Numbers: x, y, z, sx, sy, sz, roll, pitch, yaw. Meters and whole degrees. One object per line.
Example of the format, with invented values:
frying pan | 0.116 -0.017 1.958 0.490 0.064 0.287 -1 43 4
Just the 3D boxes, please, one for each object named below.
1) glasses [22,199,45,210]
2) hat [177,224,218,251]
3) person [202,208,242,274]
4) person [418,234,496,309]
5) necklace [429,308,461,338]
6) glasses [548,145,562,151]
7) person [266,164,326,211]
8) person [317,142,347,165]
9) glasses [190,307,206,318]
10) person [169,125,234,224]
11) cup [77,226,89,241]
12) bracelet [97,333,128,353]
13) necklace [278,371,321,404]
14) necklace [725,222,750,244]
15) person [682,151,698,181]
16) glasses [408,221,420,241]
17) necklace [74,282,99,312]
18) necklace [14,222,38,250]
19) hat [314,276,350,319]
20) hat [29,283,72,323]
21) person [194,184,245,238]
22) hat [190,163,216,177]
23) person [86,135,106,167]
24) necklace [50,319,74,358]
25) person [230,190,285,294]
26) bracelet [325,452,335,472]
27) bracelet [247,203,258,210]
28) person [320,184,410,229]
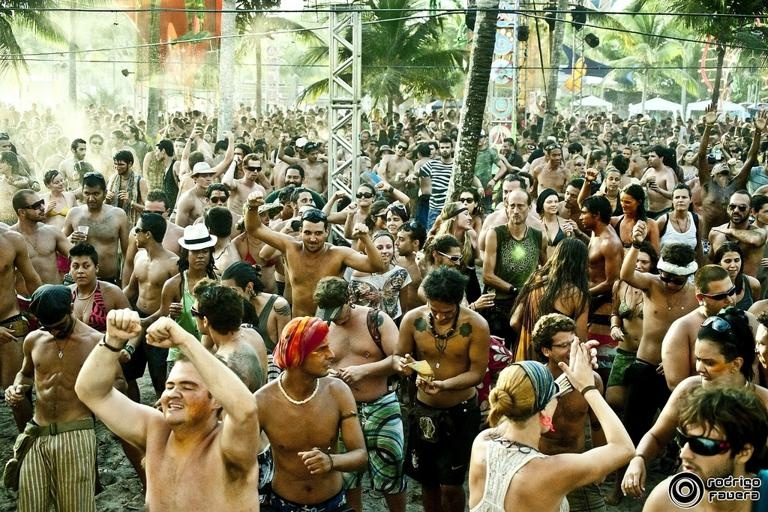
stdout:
glasses | -4.872 -0.724 12.681 0.127 0.118 0.315 7 13 23
hat | -2.373 -0.233 11.545 0.424 0.319 0.396 2 12 1
person | -2.202 -0.178 12.281 0.453 0.956 0.662 12 20 29
person | 0.946 0.278 11.592 0.947 1.058 0.753 7 13 4
necklace | 0.696 0.785 10.460 0.364 0.341 0.112 3 12 4
glasses | 3.271 -2.073 17.331 0.225 0.106 0.559 4 13 11
person | -1.521 -1.149 15.816 0.970 0.889 1.410 -3 -12 1
person | -1.058 -2.242 20.090 0.722 0.355 0.977 2 6 -6
glasses | -1.985 0.617 9.706 0.131 0.041 0.129 25 1 -18
person | -2.976 -1.039 15.112 0.841 2.335 0.496 -2 23 -19
cup | -4.412 -0.329 13.347 0.191 0.218 0.198 2 -2 0
bracelet | -2.625 0.830 8.677 0.265 0.205 0.212 2 12 3
necklace | -0.884 1.367 9.352 0.458 0.296 0.173 1 12 -4
necklace | 5.088 -0.289 13.015 0.333 0.174 0.167 7 13 22
person | 6.352 -1.895 18.730 0.239 0.526 0.964 5 13 16
glasses | 0.432 -0.347 12.535 0.162 0.219 0.217 1 4 -11
necklace | -3.793 0.531 11.583 0.372 0.357 0.242 1 1 18
necklace | -5.063 -0.276 12.875 0.345 0.364 0.149 -7 2 -29
hat | -0.587 0.457 10.447 0.306 0.517 0.297 5 -15 10
hat | -3.684 0.536 10.206 0.438 0.409 0.510 3 7 -35
person | -2.503 -0.672 13.662 0.872 1.221 0.410 -4 -2 -11
hat | -3.066 -1.451 15.277 0.350 0.191 0.481 0 -6 -12
person | -5.926 -2.154 18.730 0.385 0.782 0.827 -3 13 -19
necklace | -3.573 0.896 10.203 0.265 0.401 0.202 7 21 10
person | -1.696 -0.345 12.927 0.394 1.300 0.390 -17 27 -6
bracelet | -0.525 2.102 9.222 0.118 0.146 0.141 -3 4 1
bracelet | -1.660 -0.638 11.429 0.121 0.103 0.174 -4 14 -24
person | -0.315 -0.777 14.508 0.896 0.419 0.399 9 3 36
